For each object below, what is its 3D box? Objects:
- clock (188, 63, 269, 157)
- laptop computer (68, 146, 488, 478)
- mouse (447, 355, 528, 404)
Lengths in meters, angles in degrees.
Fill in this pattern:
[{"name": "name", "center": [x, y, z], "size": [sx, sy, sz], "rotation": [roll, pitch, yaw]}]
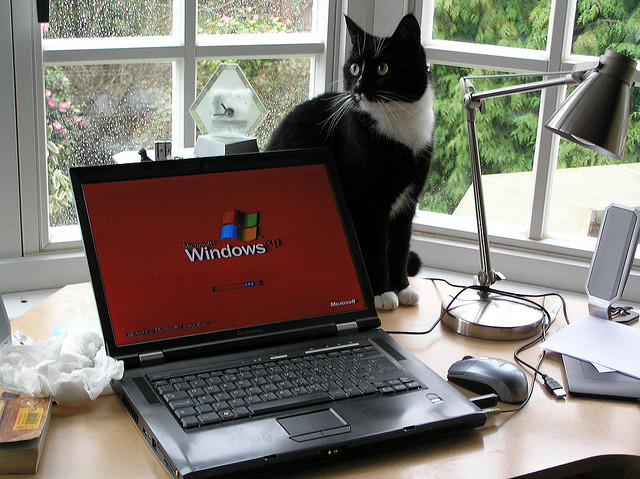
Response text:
[{"name": "clock", "center": [-0.217, -0.298, 1.315], "size": [0.175, 0.225, 0.127], "rotation": [-4, 6, -27]}, {"name": "laptop computer", "center": [-0.102, 0.101, 0.908], "size": [0.537, 0.411, 0.569], "rotation": [-10, 27, -28]}, {"name": "mouse", "center": [0.296, 0.233, 0.955], "size": [0.112, 0.044, 0.066], "rotation": [17, 19, 34]}]
